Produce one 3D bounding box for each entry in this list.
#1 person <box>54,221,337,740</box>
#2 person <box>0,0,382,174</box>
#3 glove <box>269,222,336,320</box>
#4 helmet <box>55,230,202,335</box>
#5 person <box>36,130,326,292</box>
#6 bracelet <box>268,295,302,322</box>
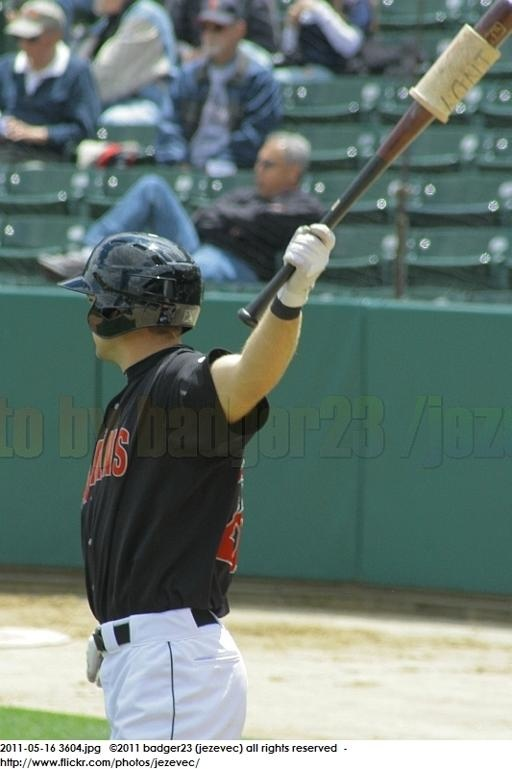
[{"bbox_3d":[-0.157,0.178,2.148,0.394,0.997,0.532,-5,12,-37],"label":"person"},{"bbox_3d":[-0.074,-1.635,5.763,1.400,1.118,0.510,6,0,14],"label":"person"},{"bbox_3d":[0.091,-0.203,2.028,0.099,0.202,0.074,10,-23,33],"label":"glove"},{"bbox_3d":[-0.256,-0.219,2.294,0.331,0.208,0.225,0,12,5],"label":"helmet"},{"bbox_3d":[-0.367,-0.906,5.489,1.449,0.757,0.581,-1,26,-11],"label":"person"},{"bbox_3d":[0.056,-0.135,1.929,0.048,0.029,0.045,7,6,19],"label":"bracelet"}]
